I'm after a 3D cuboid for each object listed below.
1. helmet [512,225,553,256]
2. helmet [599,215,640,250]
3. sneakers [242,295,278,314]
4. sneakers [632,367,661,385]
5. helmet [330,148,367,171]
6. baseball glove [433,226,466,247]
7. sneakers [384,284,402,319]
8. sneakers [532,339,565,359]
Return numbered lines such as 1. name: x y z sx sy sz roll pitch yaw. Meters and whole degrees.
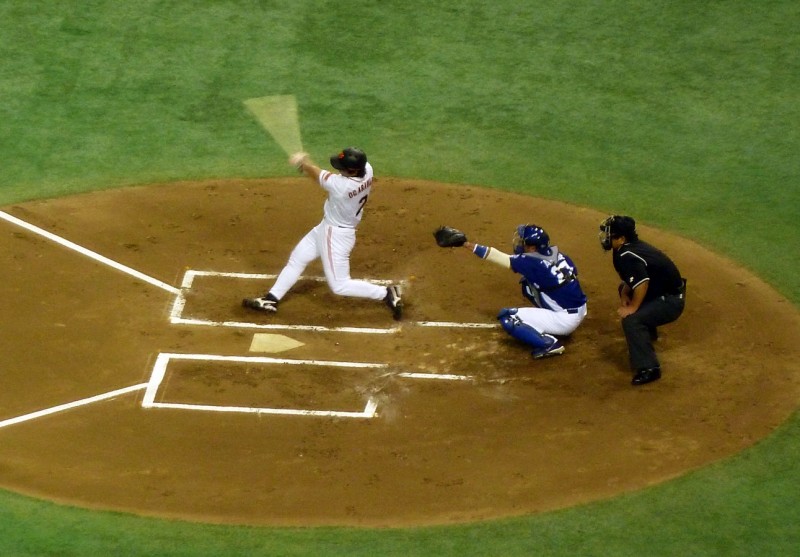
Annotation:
1. helmet: 1.626 -0.429 11.537 0.369 0.438 0.364 5 81 -37
2. helmet: 2.624 -0.533 11.402 0.542 0.377 0.391 10 95 10
3. sneakers: -1.683 0.315 12.015 0.547 0.191 0.161 7 35 1
4. sneakers: 2.805 1.114 11.168 0.389 0.138 0.145 -12 47 5
5. helmet: -0.599 -1.390 11.506 0.414 0.179 0.240 10 57 3
6. baseball glove: 0.577 -0.494 11.568 0.355 0.248 0.101 8 84 -8
7. sneakers: -0.070 0.269 12.057 0.186 0.189 0.436 -19 105 6
8. sneakers: 1.700 0.831 11.486 0.480 0.168 0.170 -10 79 -10
